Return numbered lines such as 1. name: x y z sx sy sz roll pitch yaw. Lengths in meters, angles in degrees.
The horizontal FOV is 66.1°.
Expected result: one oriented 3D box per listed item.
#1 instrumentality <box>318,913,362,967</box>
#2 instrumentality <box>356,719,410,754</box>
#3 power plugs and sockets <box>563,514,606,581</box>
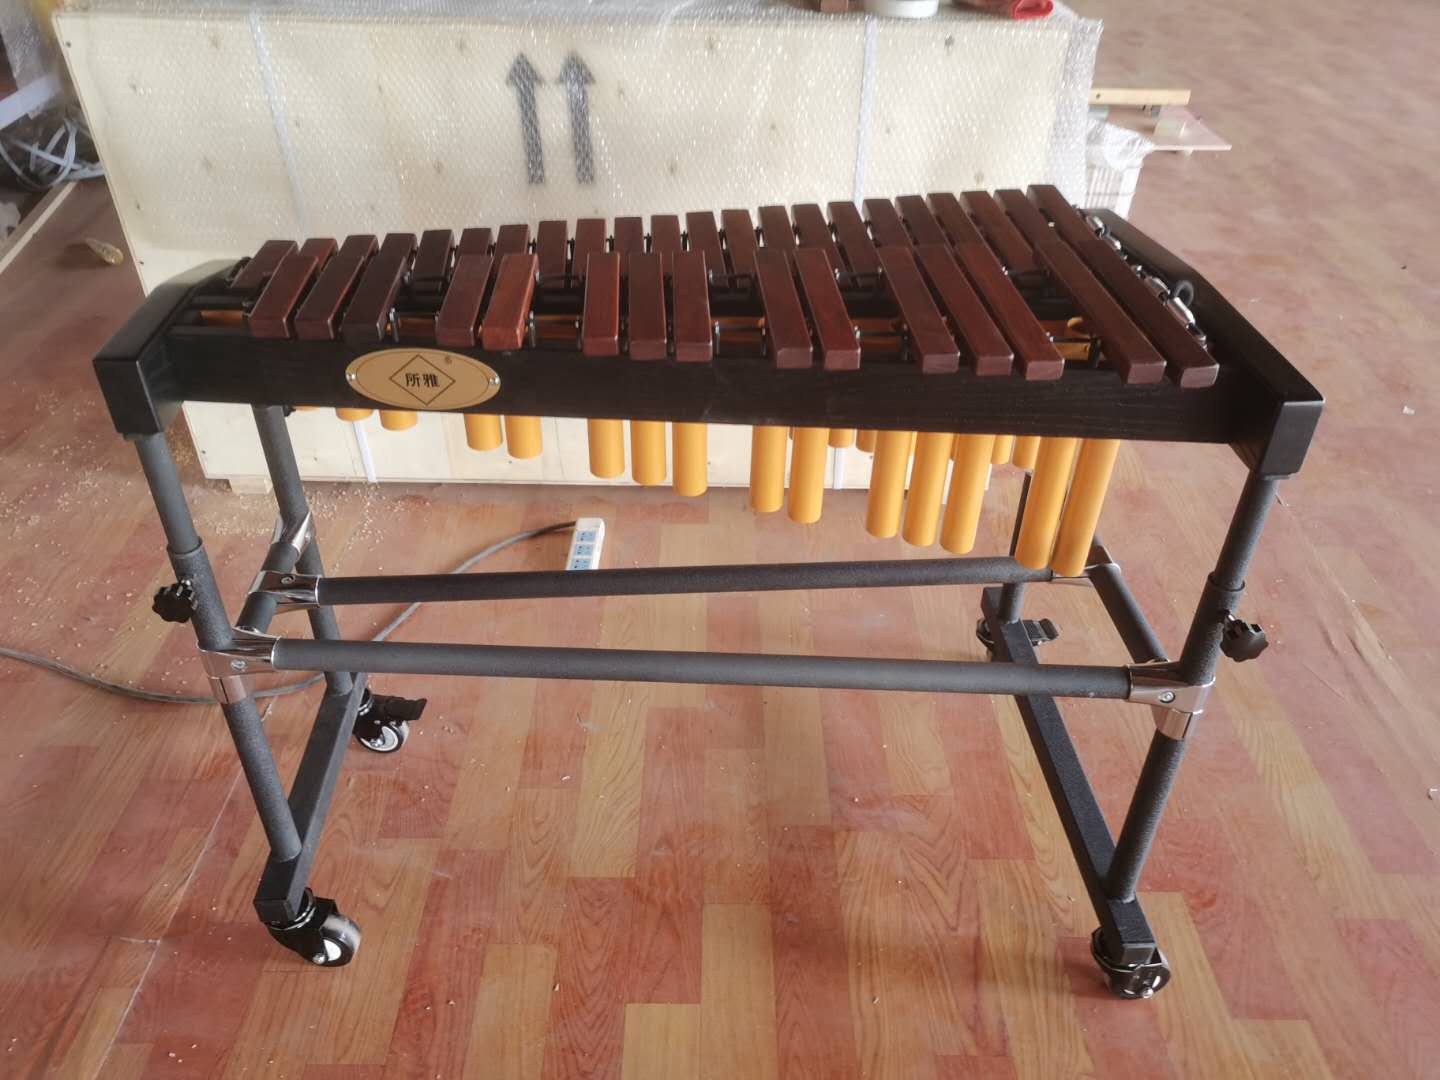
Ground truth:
1. instrumentality: -0.664 0.705 1.929 0.068 0.063 0.070 27 11 -30
2. instrumentality: -0.677 0.404 2.241 0.081 0.081 0.080 -1 35 6
3. power plugs and sockets: -0.318 0.029 2.723 0.097 0.050 0.220 1 52 7
